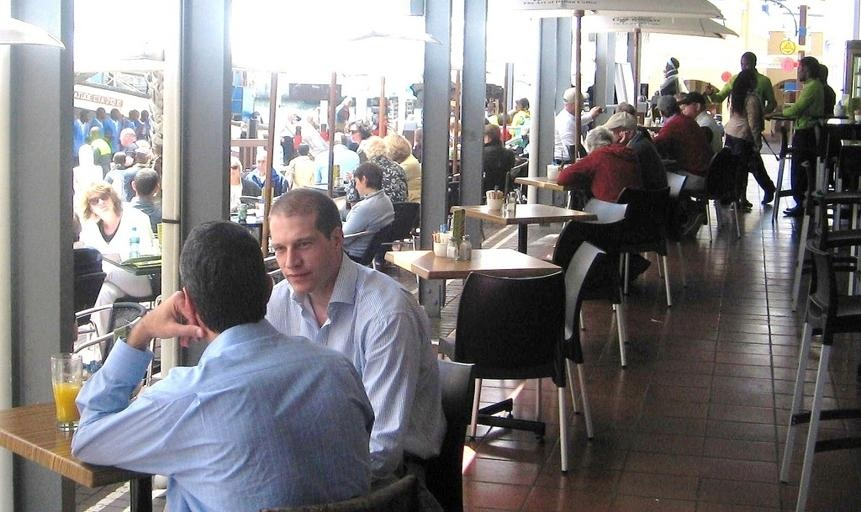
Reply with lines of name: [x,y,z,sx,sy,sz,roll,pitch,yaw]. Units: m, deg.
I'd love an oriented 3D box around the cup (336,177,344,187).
cup: [-1.287,-1.023,9.491,0.123,0.120,0.223,2,3,-5]

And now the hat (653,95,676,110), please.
hat: [3.412,-2.202,9.802,0.251,0.251,0.352,0,6,7]

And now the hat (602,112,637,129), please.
hat: [2.269,-1.588,8.093,0.335,0.171,0.223,-1,9,10]

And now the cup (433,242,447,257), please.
cup: [0.069,-0.045,4.874,0.095,0.065,0.094,-1,2,0]

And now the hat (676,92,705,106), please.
hat: [4.037,-2.445,10.595,0.333,0.199,0.378,-6,8,-42]

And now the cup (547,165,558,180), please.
cup: [1.495,-1.021,8.319,0.133,0.169,0.376,0,6,9]

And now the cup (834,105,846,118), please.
cup: [6.780,-2.377,11.290,0.199,0.204,0.216,-1,2,0]
